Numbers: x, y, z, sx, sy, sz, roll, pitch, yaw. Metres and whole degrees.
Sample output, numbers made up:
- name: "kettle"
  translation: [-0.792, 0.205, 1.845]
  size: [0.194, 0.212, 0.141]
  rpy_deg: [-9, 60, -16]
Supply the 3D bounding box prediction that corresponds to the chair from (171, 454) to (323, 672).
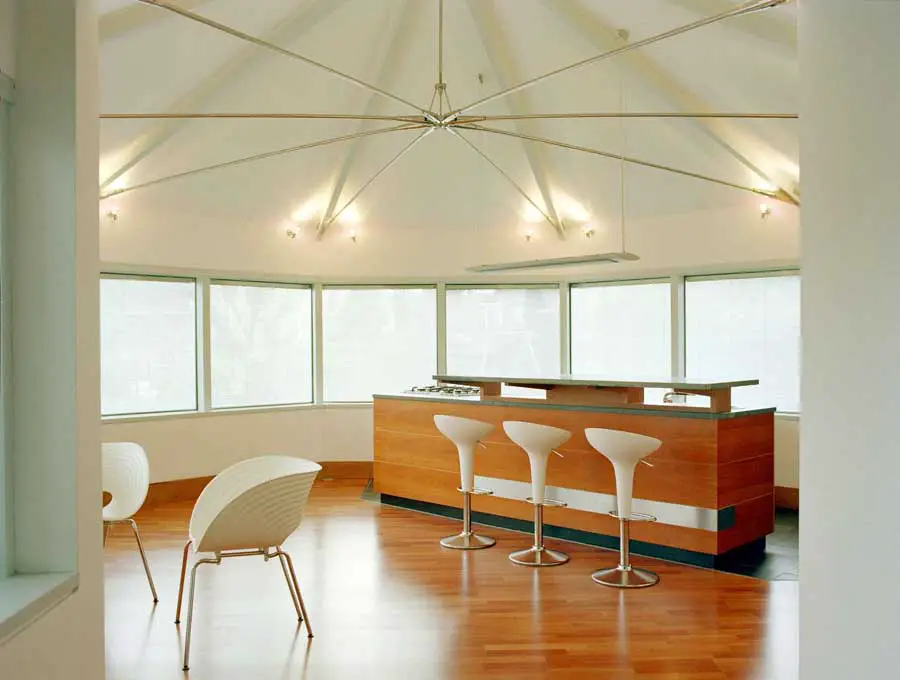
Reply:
- name: "chair"
  translation: [-1.271, 1.246, 4.801]
  size: [1.100, 1.280, 1.159]
  rpy_deg: [4, -5, -20]
